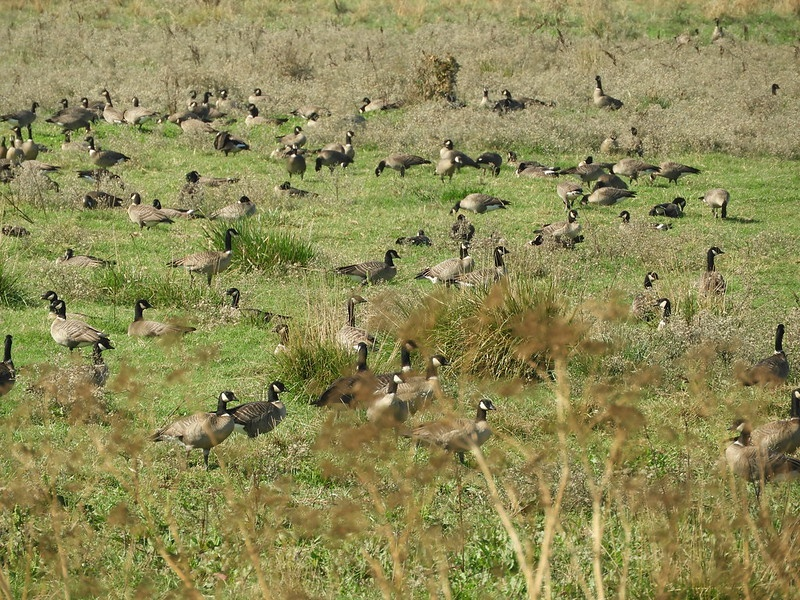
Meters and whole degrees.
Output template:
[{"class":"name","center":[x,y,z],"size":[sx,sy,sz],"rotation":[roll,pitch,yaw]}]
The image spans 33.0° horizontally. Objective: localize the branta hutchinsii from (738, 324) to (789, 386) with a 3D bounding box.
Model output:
[{"class":"branta hutchinsii","center":[6.236,1.012,23.057],"size":[0.615,0.953,2.491],"rotation":[0,9,22]}]
